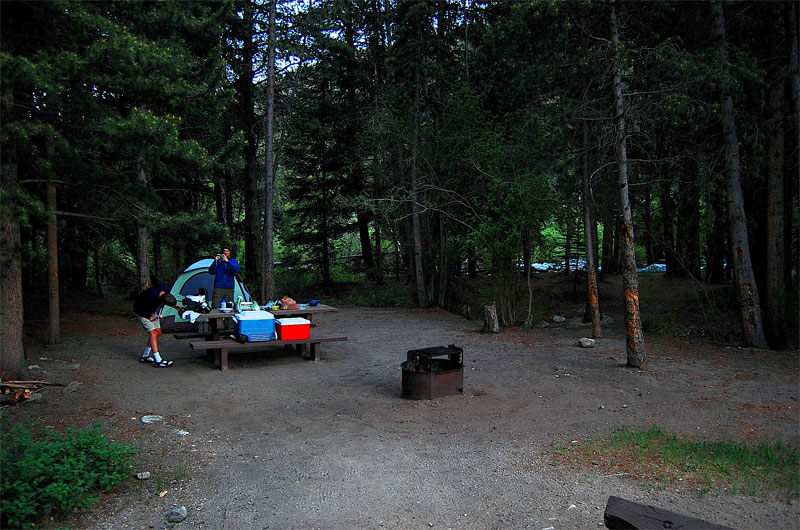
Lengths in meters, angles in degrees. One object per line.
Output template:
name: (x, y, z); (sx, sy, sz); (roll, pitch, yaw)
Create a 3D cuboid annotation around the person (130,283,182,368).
person: (-6.964, 1.718, 17.176); (1.144, 2.322, 0.592); (-3, 0, -4)

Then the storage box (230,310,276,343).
storage box: (-4.132, 1.754, 17.239); (1.145, 0.897, 0.359); (-3, 0, -13)

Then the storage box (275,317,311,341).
storage box: (-3.044, 1.804, 17.236); (0.707, 0.432, 0.708); (0, 0, -21)

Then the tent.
tent: (-7.293, 1.050, 21.436); (2.820, 2.109, 2.843); (0, 0, -8)
